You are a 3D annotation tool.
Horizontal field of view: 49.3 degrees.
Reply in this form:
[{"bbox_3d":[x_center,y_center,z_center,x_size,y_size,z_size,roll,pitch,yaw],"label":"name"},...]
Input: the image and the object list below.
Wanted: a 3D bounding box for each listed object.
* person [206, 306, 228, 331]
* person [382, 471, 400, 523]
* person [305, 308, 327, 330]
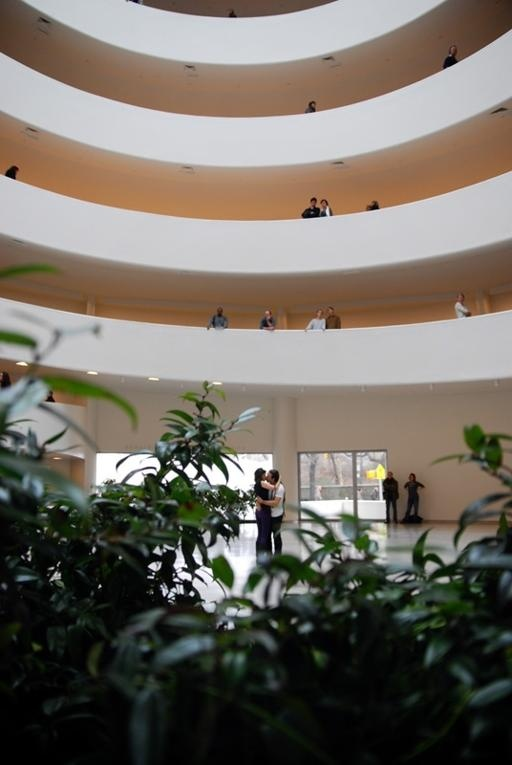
[{"bbox_3d":[-1.066,-1.842,15.914,0.404,0.877,0.602,-2,-16,11],"label":"person"},{"bbox_3d":[4.407,3.732,18.273,0.506,1.575,0.805,-2,-16,13],"label":"person"},{"bbox_3d":[1.750,-1.797,16.145,0.541,0.884,0.818,0,-16,5],"label":"person"}]
